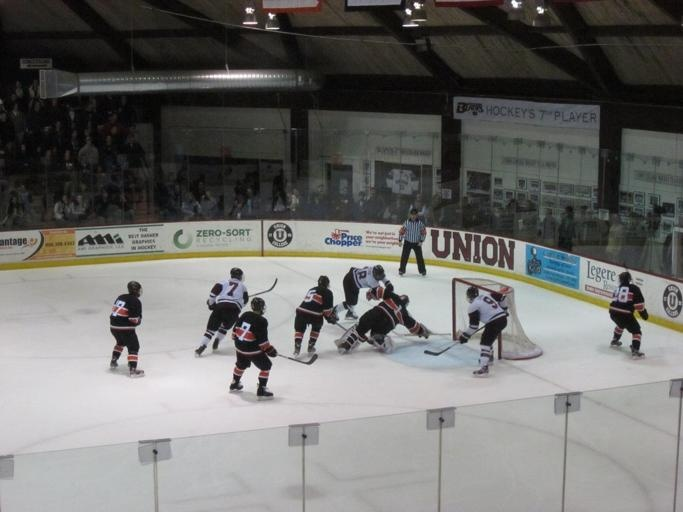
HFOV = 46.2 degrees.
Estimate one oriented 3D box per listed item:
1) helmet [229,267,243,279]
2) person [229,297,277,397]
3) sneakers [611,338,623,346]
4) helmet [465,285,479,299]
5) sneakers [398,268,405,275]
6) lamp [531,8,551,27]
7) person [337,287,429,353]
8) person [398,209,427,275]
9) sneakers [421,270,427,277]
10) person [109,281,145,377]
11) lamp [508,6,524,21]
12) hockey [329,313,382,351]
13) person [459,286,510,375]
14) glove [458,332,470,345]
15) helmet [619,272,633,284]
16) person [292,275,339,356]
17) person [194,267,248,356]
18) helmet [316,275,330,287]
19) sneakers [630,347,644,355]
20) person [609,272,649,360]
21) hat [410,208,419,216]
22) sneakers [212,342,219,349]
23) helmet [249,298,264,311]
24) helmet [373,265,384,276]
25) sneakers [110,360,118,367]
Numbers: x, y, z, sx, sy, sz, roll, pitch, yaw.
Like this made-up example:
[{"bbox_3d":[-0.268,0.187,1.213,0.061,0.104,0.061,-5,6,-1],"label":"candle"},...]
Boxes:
[{"bbox_3d":[-1.930,0.319,14.739,0.187,0.254,0.246,6,12,31],"label":"helmet"},{"bbox_3d":[-1.402,1.448,12.459,0.734,1.606,0.804,-2,14,-9],"label":"person"},{"bbox_3d":[5.042,1.579,14.690,0.196,0.144,0.109,-8,17,-14],"label":"sneakers"},{"bbox_3d":[2.197,0.623,13.411,0.218,0.228,0.173,5,-4,-31],"label":"helmet"},{"bbox_3d":[1.481,0.407,19.719,0.106,0.130,0.140,0,-6,-17],"label":"sneakers"},{"bbox_3d":[4.241,-5.035,16.906,0.343,0.348,0.351,-3,11,-10],"label":"lamp"},{"bbox_3d":[0.670,1.127,14.480,2.086,0.719,1.335,-6,30,-20],"label":"person"},{"bbox_3d":[1.749,-0.357,19.728,0.660,1.698,0.666,1,14,4],"label":"person"},{"bbox_3d":[2.015,0.435,19.699,0.088,0.095,0.149,3,12,9],"label":"sneakers"},{"bbox_3d":[-3.672,1.184,13.544,0.584,1.521,1.021,-5,15,-17],"label":"person"},{"bbox_3d":[3.566,-4.958,16.370,0.257,0.190,0.255,-7,13,-40],"label":"lamp"},{"bbox_3d":[0.278,1.537,14.444,0.588,0.600,0.219,40,-7,21],"label":"hockey"},{"bbox_3d":[2.406,1.221,13.557,0.743,1.508,0.849,3,14,14],"label":"person"},{"bbox_3d":[2.071,1.411,13.559,0.151,0.204,0.101,43,6,14],"label":"glove"},{"bbox_3d":[5.027,0.398,14.203,0.213,0.208,0.262,0,-2,-6],"label":"helmet"},{"bbox_3d":[-0.480,1.078,14.359,0.744,1.337,0.945,0,14,2],"label":"person"},{"bbox_3d":[-2.073,0.945,14.367,0.706,0.491,1.778,15,39,2],"label":"person"},{"bbox_3d":[-0.330,0.475,14.491,0.211,0.222,0.164,-7,13,-19],"label":"helmet"},{"bbox_3d":[5.223,1.692,14.116,0.209,0.127,0.188,5,15,18],"label":"sneakers"},{"bbox_3d":[5.177,0.981,14.433,0.636,1.497,1.043,5,15,21],"label":"person"},{"bbox_3d":[1.766,-1.070,19.375,0.164,0.219,0.211,-2,-3,1],"label":"hat"},{"bbox_3d":[-2.275,1.607,14.489,0.082,0.137,0.139,13,19,-6],"label":"sneakers"},{"bbox_3d":[-1.290,0.755,12.313,0.208,0.206,0.167,-1,5,16],"label":"helmet"},{"bbox_3d":[0.681,0.260,14.869,0.177,0.215,0.307,1,14,6],"label":"helmet"},{"bbox_3d":[-3.878,1.838,13.621,0.124,0.127,0.091,1,4,19],"label":"sneakers"}]
